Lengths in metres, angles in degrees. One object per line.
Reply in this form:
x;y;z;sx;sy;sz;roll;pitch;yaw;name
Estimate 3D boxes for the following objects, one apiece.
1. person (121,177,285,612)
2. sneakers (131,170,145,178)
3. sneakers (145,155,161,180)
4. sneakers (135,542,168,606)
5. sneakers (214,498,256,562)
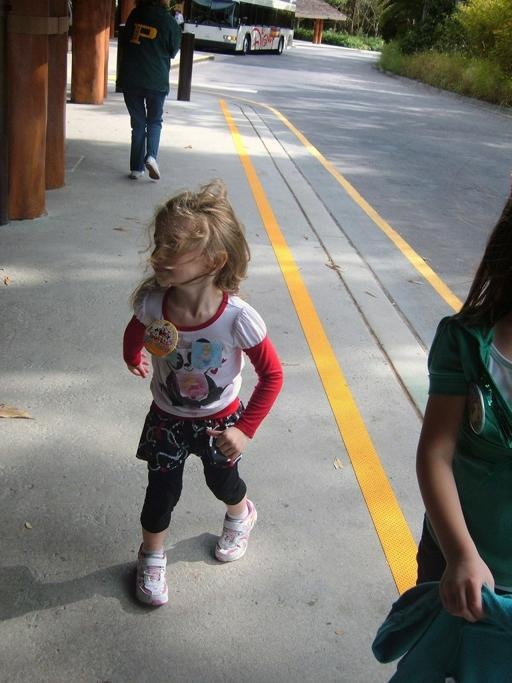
-0.189;0.179;1.621;0.557;1.238;0.453;15;23;4;person
-1.474;-2.081;6.642;0.083;0.084;0.206;1;11;-4;sneakers
-1.249;-2.095;6.491;0.114;0.301;0.128;28;65;19;sneakers
-0.329;0.728;1.694;0.078;0.082;0.191;1;17;-13;sneakers
-0.059;0.639;1.895;0.097;0.102;0.227;8;55;16;sneakers
